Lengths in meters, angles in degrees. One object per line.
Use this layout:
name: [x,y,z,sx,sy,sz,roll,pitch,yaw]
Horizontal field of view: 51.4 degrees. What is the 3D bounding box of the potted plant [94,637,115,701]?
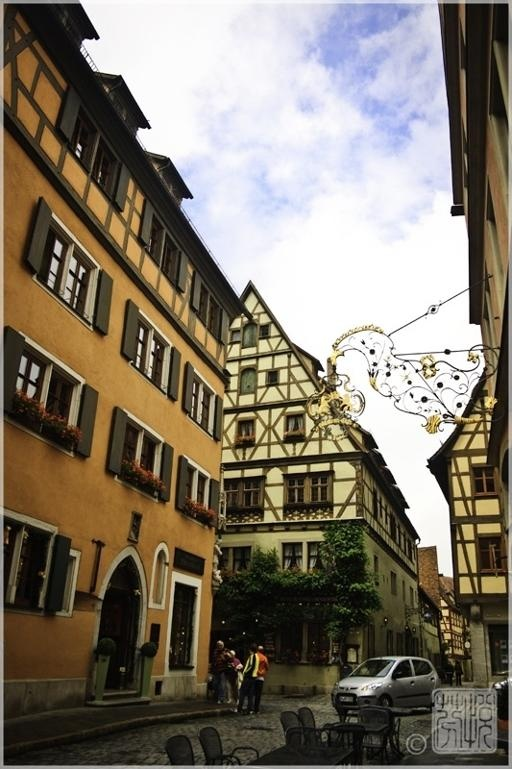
potted plant: [-2.912,5.447,10.193,0.255,1.064,0.395,-10,-24,27]
